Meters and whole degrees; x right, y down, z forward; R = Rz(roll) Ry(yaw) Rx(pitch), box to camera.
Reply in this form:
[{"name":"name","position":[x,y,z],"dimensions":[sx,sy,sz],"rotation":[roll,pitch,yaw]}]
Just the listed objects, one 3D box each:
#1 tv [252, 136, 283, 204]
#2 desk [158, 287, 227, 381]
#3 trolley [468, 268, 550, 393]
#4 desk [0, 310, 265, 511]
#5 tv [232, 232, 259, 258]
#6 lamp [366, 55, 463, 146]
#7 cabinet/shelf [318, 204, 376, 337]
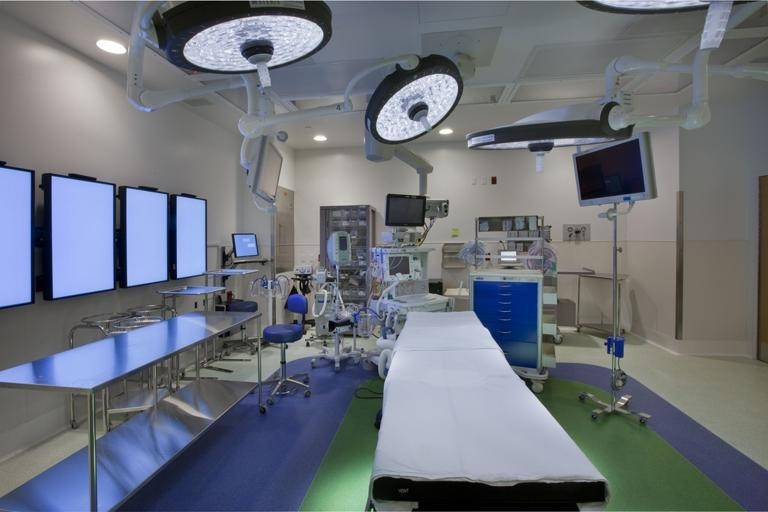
[{"name":"tv","position":[-1.070,-0.800,4.571],"dimensions":[0.229,0.641,0.515],"rotation":[-1,1,-7]},{"name":"desk","position":[-2.302,0.835,6.052],"dimensions":[0.946,1.079,0.937],"rotation":[0,1,9]},{"name":"trolley","position":[1.471,0.836,6.073],"dimensions":[0.831,1.281,0.772],"rotation":[1,0,15]},{"name":"desk","position":[-2.133,1.242,4.328],"dimensions":[0.908,1.330,1.764],"rotation":[0,1,26]},{"name":"tv","position":[-2.001,-0.170,7.263],"dimensions":[0.238,0.356,0.606],"rotation":[-1,1,9]},{"name":"lamp","position":[0.204,-1.147,3.885],"dimensions":[0.708,0.441,0.695],"rotation":[-21,-29,-11]},{"name":"cabinet/shelf","position":[-0.609,-0.038,8.034],"dimensions":[0.816,1.579,0.426],"rotation":[-1,1,-2]}]
